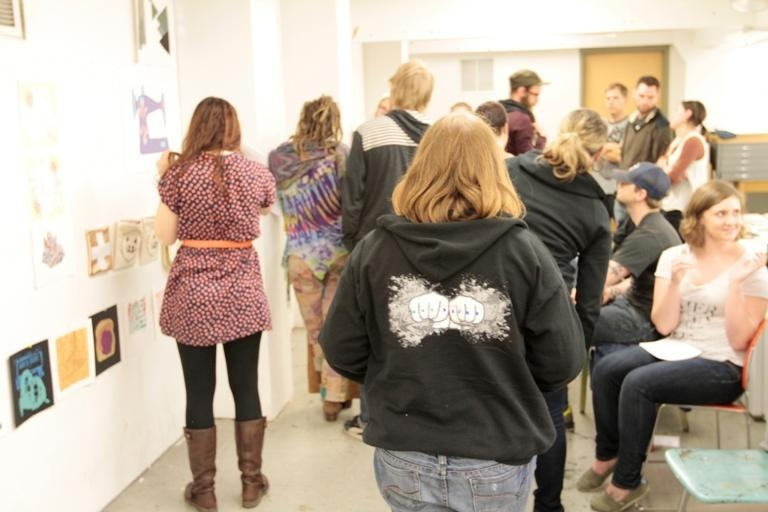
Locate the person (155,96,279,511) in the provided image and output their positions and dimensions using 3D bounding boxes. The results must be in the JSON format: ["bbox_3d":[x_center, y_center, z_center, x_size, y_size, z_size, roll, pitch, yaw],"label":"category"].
[{"bbox_3d":[-0.877,0.280,3.172,0.630,2.174,0.382,-3,14,-11],"label":"person"}]

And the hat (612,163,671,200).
[{"bbox_3d":[1.578,-0.451,3.649,0.308,0.165,0.202,34,29,8],"label":"hat"}]

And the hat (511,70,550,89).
[{"bbox_3d":[1.121,-1.362,4.696,0.219,0.103,0.153,-4,14,12],"label":"hat"}]
